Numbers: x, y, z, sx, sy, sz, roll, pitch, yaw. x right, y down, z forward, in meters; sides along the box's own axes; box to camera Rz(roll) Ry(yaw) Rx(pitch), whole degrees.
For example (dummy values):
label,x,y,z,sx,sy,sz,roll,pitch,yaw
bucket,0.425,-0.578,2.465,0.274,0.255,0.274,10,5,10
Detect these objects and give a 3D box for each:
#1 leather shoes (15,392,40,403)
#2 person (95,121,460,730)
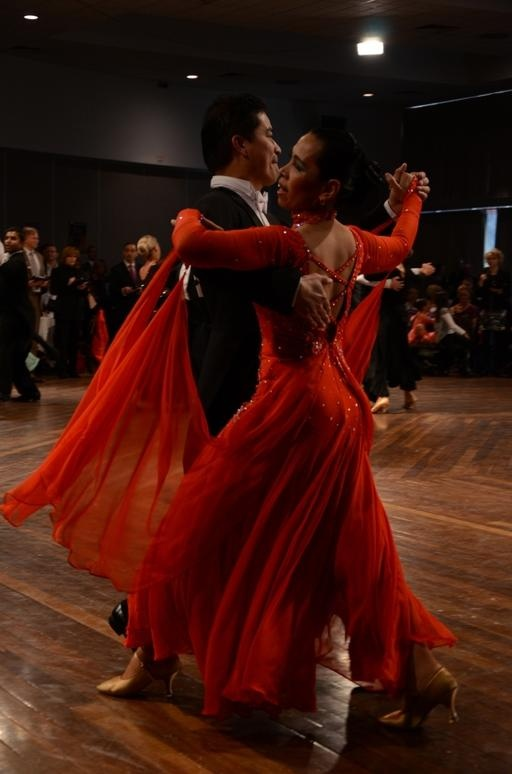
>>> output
label,x,y,z,sx,sy,sz,roll,pitch,yaw
leather shoes,-3.072,0.135,8.134,0.336,0.135,0.229,1,-4,-8
person,0.086,0.058,1.302,0.759,1.333,0.579,1,-4,-12
